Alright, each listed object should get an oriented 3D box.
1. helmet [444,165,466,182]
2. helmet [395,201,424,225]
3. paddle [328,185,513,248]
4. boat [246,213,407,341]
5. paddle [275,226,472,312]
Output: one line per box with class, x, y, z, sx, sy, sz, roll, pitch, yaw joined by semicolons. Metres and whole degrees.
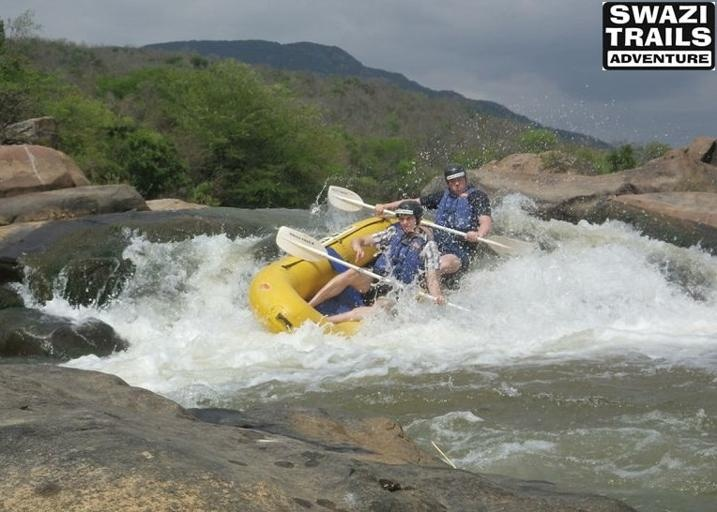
helmet;1.516;-1.344;13.478;0.248;0.253;0.287;-11;-14;-5
helmet;0.749;-0.658;12.356;0.359;0.256;0.299;-12;20;-28
paddle;1.067;-0.629;13.909;3.651;0.394;0.595;18;10;27
boat;-0.750;0.358;12.824;1.122;0.398;2.083;44;48;16
paddle;0.257;0.215;12.670;2.667;0.122;0.436;21;48;2
